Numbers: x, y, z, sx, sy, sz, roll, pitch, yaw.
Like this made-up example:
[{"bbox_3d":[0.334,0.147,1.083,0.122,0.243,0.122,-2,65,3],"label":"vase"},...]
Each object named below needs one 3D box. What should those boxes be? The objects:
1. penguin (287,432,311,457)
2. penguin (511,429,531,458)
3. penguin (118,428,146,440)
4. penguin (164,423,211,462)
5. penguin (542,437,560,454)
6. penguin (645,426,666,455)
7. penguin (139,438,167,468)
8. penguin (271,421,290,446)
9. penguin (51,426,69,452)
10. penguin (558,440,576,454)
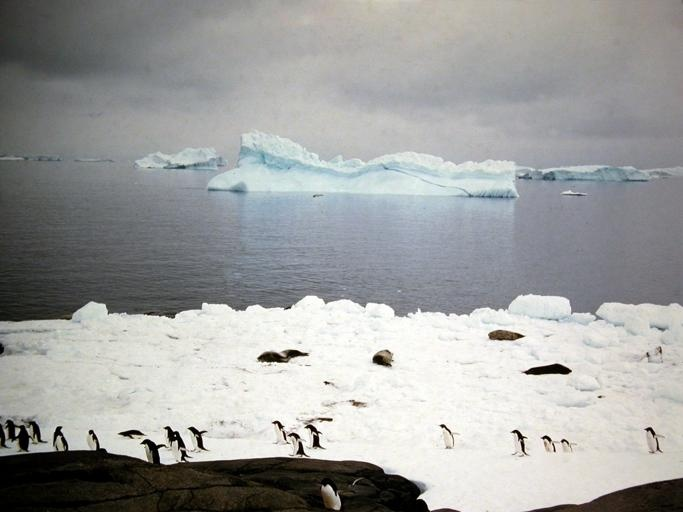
[{"bbox_3d":[-1.084,4.683,18.870,0.499,0.563,0.748,1,-1,-7],"label":"penguin"},{"bbox_3d":[4.608,4.714,19.263,0.404,0.617,0.656,0,-1,12],"label":"penguin"},{"bbox_3d":[-5.398,4.509,19.166,0.472,0.117,0.276,6,2,-2],"label":"penguin"},{"bbox_3d":[-3.883,4.592,18.722,1.023,0.776,1.256,1,-1,-12],"label":"penguin"},{"bbox_3d":[5.373,4.788,19.340,0.369,0.393,0.469,0,-1,13],"label":"penguin"},{"bbox_3d":[8.104,4.669,19.361,0.416,0.645,0.826,0,-1,21],"label":"penguin"},{"bbox_3d":[-4.640,4.796,18.387,0.747,0.530,0.705,1,-11,6],"label":"penguin"},{"bbox_3d":[-1.587,4.521,19.547,0.406,0.540,0.688,1,-1,-4],"label":"penguin"},{"bbox_3d":[-7.025,4.464,18.713,0.368,0.590,0.780,1,-1,-19],"label":"penguin"},{"bbox_3d":[5.761,4.855,19.296,0.218,0.408,0.203,6,-5,-18],"label":"penguin"}]
